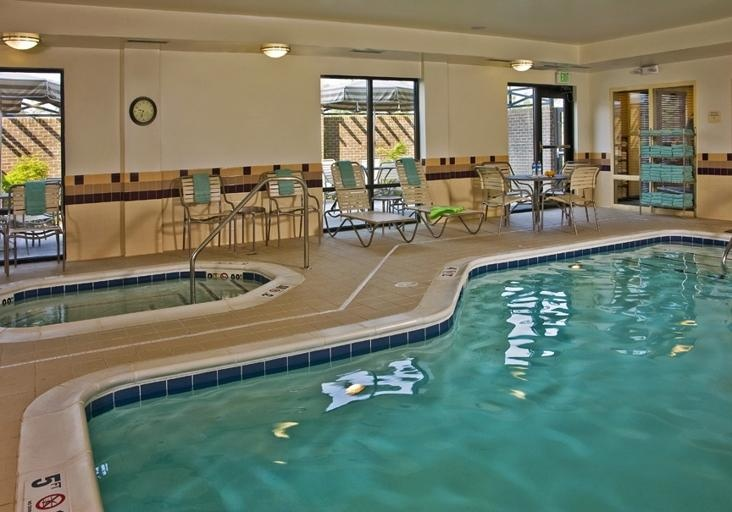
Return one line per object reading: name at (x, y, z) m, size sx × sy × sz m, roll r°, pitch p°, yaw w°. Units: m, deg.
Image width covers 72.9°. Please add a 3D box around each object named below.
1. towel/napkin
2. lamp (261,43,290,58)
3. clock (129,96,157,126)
towel/napkin at (6.638, -1.922, 10.916) m, size 1.020 × 1.835 × 1.366 m, roll 0°, pitch 11°, yaw 26°
lamp at (-1.499, -3.432, 8.215) m, size 0.434 × 0.155 × 0.213 m, roll -5°, pitch 9°, yaw -12°
clock at (-3.612, -2.349, 8.004) m, size 0.538 × 0.393 × 0.102 m, roll -4°, pitch 9°, yaw -33°
